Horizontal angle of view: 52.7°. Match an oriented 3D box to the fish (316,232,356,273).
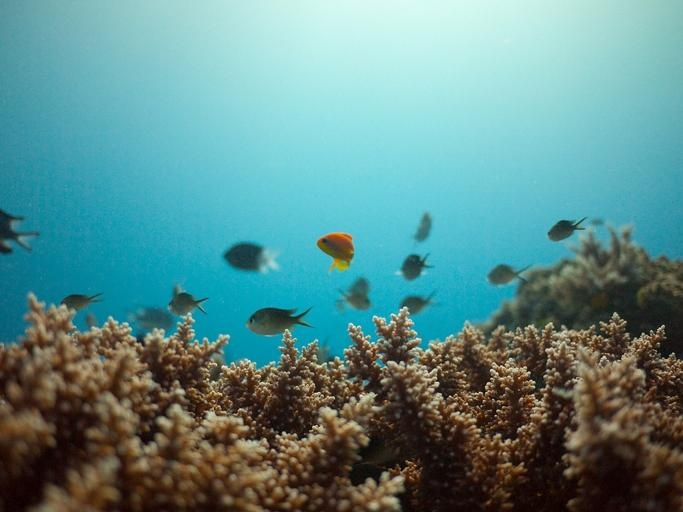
[{"bbox_3d":[-0.026,-0.085,7.201,0.369,0.102,0.244,43,-46,1],"label":"fish"}]
